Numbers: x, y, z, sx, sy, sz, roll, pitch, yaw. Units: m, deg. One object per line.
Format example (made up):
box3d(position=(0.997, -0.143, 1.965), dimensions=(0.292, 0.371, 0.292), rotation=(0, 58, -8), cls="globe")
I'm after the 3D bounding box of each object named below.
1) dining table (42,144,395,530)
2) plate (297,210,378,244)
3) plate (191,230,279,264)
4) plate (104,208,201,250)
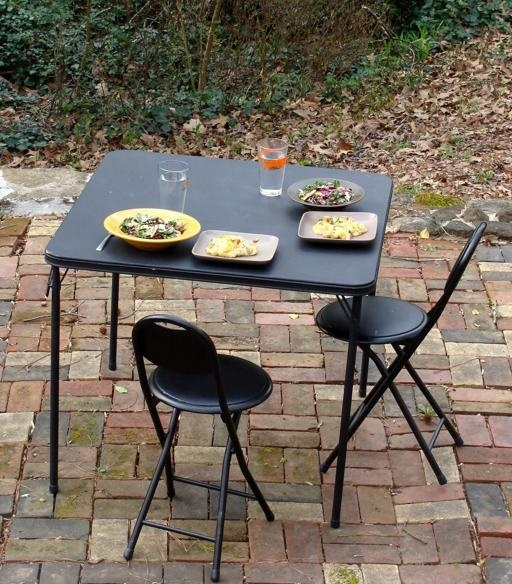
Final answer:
box3d(position=(-0.314, 0.150, 2.543), dimensions=(1.745, 1.292, 1.497), rotation=(6, 27, 6), cls="dining table")
box3d(position=(0.280, -0.222, 1.867), dimensions=(0.258, 0.049, 0.272), rotation=(8, 29, 6), cls="plate")
box3d(position=(-0.064, -0.130, 1.657), dimensions=(0.174, 0.017, 0.159), rotation=(5, 26, 9), cls="plate")
box3d(position=(-0.338, -0.203, 1.756), dimensions=(0.305, 0.067, 0.314), rotation=(7, 29, 4), cls="plate")
